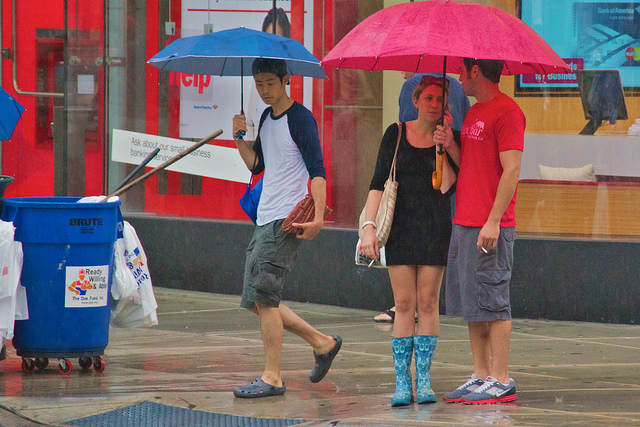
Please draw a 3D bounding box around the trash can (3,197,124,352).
[{"bbox_3d":[-2.400,0.570,13.207,0.936,1.457,0.984,0,1,-32],"label":"trash can"}]

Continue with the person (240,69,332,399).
[{"bbox_3d":[-0.375,0.170,12.815,1.019,3.181,1.367,0,-1,-1],"label":"person"}]

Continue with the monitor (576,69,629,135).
[{"bbox_3d":[3.024,-1.269,14.823,0.366,0.804,0.315,2,-1,-8],"label":"monitor"}]

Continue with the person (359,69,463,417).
[{"bbox_3d":[0.897,0.271,12.532,1.090,3.041,1.335,0,-1,12],"label":"person"}]

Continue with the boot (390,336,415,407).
[{"bbox_3d":[0.720,1.429,12.137,0.259,0.548,0.263,0,-2,2],"label":"boot"}]
